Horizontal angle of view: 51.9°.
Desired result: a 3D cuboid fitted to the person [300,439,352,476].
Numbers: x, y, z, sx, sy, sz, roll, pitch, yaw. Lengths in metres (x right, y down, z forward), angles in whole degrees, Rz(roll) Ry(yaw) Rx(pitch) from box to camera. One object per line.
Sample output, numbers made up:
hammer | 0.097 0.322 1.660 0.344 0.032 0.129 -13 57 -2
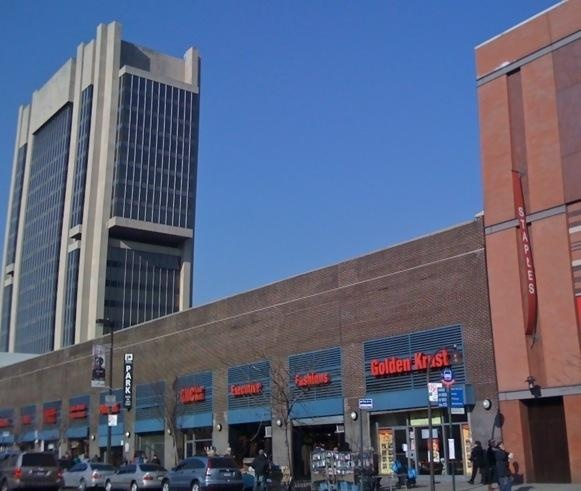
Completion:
person | 1.775 9.400 25.978 1.810 1.138 0.851 -10 -23 14

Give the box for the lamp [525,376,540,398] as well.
lamp | 9.958 5.770 24.543 0.513 0.820 1.495 -12 -25 20

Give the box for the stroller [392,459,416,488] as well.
stroller | 5.074 10.250 26.682 1.170 0.786 2.042 1 -13 5
